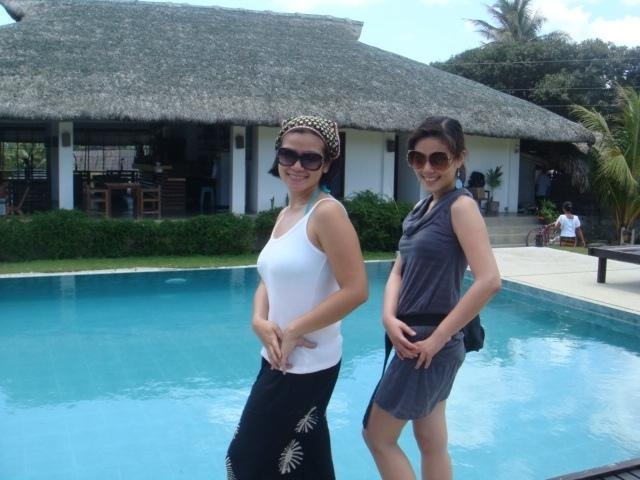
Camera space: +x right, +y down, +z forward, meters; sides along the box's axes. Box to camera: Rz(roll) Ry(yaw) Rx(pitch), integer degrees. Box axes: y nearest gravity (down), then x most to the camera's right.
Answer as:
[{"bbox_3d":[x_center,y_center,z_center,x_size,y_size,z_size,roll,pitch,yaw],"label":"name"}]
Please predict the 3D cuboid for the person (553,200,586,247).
[{"bbox_3d":[7.702,-0.488,17.354,0.760,1.588,2.049,7,12,35],"label":"person"}]
